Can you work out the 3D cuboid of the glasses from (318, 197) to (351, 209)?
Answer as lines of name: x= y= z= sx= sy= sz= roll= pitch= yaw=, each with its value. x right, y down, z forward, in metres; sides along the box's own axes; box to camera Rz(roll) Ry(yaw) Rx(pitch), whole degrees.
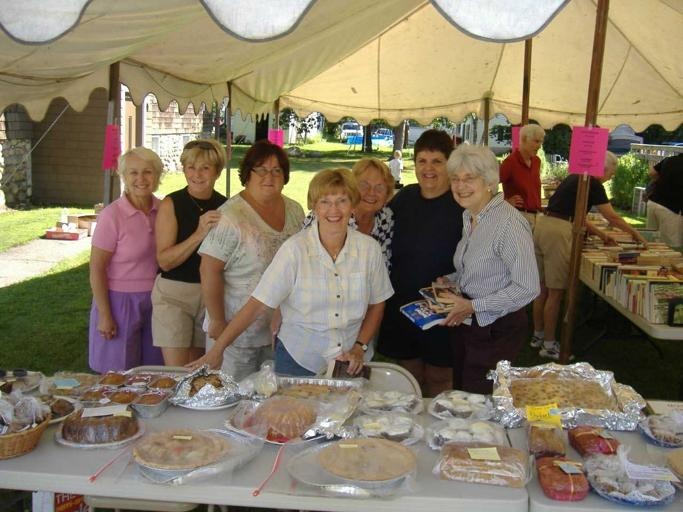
glasses: x=-0.035 y=-0.286 z=2.666 sx=0.167 sy=0.060 sz=0.025 roll=0 pitch=11 yaw=-9

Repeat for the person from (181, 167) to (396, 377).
person: x=-0.344 y=0.099 z=2.946 sx=1.228 sy=1.388 sz=0.459 roll=5 pitch=30 yaw=-30

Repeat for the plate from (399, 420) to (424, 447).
plate: x=0.294 y=0.739 z=2.052 sx=0.069 sy=0.026 sz=0.071 roll=-11 pitch=16 yaw=26

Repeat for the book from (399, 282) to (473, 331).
book: x=0.567 y=0.301 z=2.973 sx=0.349 sy=0.141 sz=0.278 roll=-19 pitch=32 yaw=-35

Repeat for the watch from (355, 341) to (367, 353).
watch: x=0.119 y=0.499 z=2.766 sx=0.063 sy=0.067 sz=0.044 roll=-18 pitch=37 yaw=41

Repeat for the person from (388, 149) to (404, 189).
person: x=1.940 y=-3.154 z=17.207 sx=0.419 sy=1.065 sz=0.371 roll=2 pitch=51 yaw=17

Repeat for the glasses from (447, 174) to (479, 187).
glasses: x=0.738 y=-0.459 z=3.021 sx=0.170 sy=0.073 sz=0.042 roll=8 pitch=13 yaw=31

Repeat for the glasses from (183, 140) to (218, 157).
glasses: x=-0.950 y=-0.718 z=3.427 sx=0.159 sy=0.171 sz=0.050 roll=-2 pitch=38 yaw=-3

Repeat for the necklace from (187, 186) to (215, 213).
necklace: x=-0.946 y=-0.363 z=3.411 sx=0.168 sy=0.119 sz=0.226 roll=3 pitch=17 yaw=-21

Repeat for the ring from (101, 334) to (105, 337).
ring: x=-1.617 y=0.541 z=3.378 sx=0.021 sy=0.021 sz=0.005 roll=2 pitch=8 yaw=3

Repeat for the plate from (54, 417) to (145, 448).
plate: x=-0.977 y=0.703 z=2.009 sx=0.167 sy=0.041 sz=0.162 roll=7 pitch=4 yaw=-8
